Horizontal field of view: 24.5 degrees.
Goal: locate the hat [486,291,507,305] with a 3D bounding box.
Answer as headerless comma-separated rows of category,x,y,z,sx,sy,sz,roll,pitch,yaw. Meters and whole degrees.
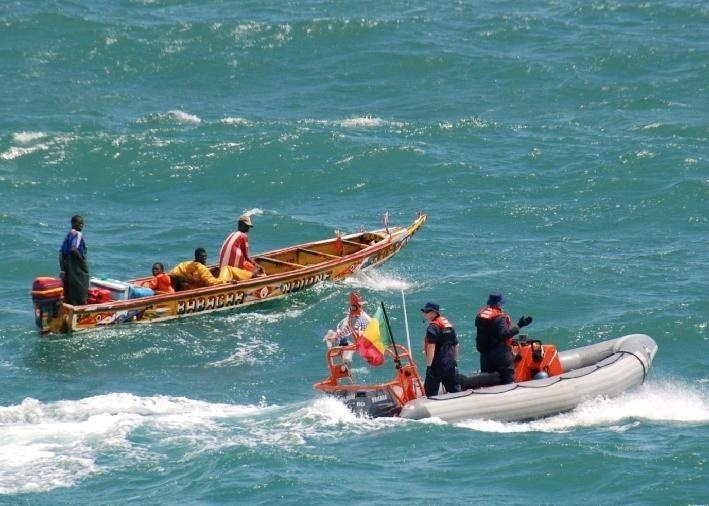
hat,3.870,1.259,44.058,0.440,0.178,0.364,-10,21,-23

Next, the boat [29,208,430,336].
boat,-4.029,0.755,50.105,10.298,1.519,1.805,-12,35,-21

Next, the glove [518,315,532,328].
glove,4.642,1.875,44.227,0.336,0.298,0.797,-4,-2,6

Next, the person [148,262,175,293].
person,-5.906,0.761,48.785,0.702,0.869,0.687,-4,-1,-5
